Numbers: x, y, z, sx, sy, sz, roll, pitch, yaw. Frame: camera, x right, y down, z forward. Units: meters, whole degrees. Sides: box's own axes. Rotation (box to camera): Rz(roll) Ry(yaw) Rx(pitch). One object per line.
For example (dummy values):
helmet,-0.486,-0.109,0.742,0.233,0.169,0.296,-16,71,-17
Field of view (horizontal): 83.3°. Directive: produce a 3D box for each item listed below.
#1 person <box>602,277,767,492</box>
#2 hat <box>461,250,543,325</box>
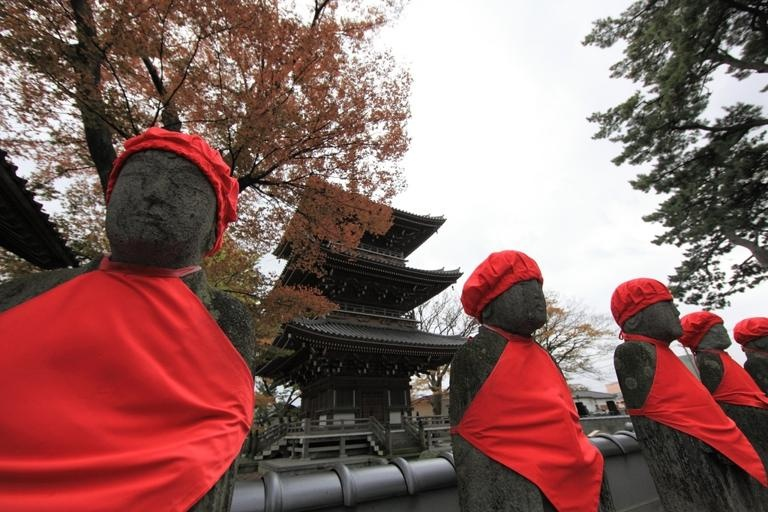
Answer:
person,2.738,1.064,3.977,0.862,1.816,0.529,5,-32,-10
hat,0.973,0.267,3.420,0.499,0.327,0.452,-32,-46,29
